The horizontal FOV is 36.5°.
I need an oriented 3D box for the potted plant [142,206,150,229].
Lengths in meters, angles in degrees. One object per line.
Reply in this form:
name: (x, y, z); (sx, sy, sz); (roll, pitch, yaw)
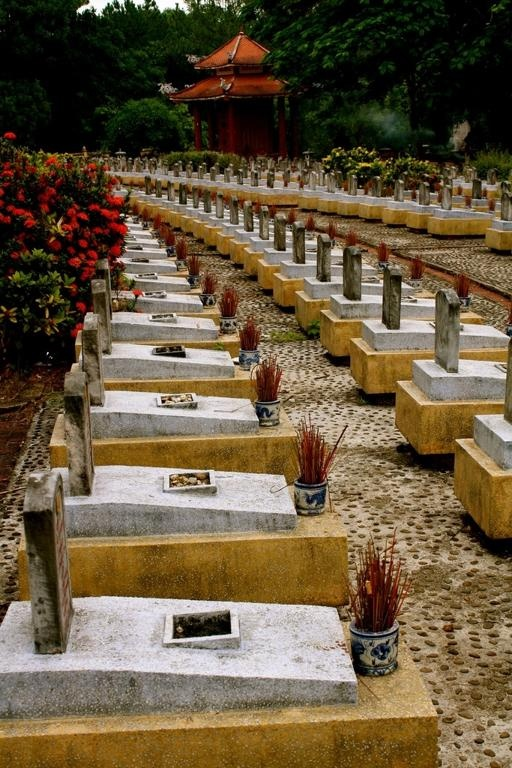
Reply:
potted plant: (-2.224, -3.336, 15.584); (0.119, 0.350, 0.407); (-6, 14, -7)

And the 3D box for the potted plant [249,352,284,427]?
potted plant: (0.073, 0.043, 4.839); (0.171, 0.414, 0.447); (-4, 14, 0)

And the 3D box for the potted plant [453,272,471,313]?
potted plant: (2.178, -0.974, 8.147); (0.131, 0.370, 0.459); (-1, 15, 13)

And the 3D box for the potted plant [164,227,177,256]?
potted plant: (-1.318, -2.173, 11.935); (0.135, 0.383, 0.392); (-6, 14, -7)

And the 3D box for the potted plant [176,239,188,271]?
potted plant: (-1.054, -1.829, 10.945); (0.150, 0.348, 0.568); (-5, 14, -5)

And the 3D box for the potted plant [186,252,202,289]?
potted plant: (-0.733, -1.337, 9.184); (0.143, 0.394, 0.480); (-6, 14, -6)
